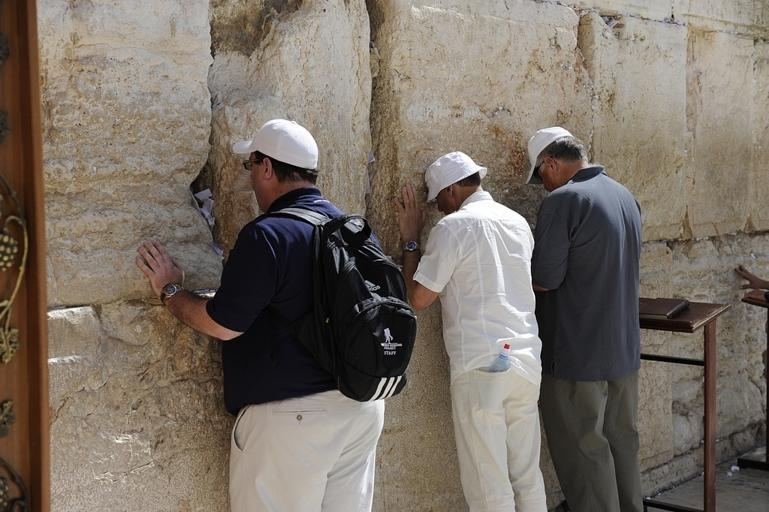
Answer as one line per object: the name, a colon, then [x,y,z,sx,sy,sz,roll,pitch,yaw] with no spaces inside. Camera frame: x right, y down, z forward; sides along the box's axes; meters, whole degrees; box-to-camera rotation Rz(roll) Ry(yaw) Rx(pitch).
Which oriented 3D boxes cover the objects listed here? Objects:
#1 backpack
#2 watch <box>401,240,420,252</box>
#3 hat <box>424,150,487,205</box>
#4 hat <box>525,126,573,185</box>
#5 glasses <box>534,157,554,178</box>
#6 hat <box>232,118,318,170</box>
backpack: [-0.153,0.220,5.909,0.572,0.831,0.213,2,6,3]
watch: [0.133,-0.044,6.746,0.070,0.052,0.066,0,-17,2]
hat: [0.347,-0.373,6.753,0.282,0.152,0.221,-26,-9,-2]
hat: [0.826,-0.563,6.993,0.215,0.304,0.164,-10,47,-38]
glasses: [0.827,-0.464,6.908,0.071,0.095,0.049,3,44,-30]
hat: [-0.494,-0.507,6.012,0.314,0.176,0.226,23,17,5]
